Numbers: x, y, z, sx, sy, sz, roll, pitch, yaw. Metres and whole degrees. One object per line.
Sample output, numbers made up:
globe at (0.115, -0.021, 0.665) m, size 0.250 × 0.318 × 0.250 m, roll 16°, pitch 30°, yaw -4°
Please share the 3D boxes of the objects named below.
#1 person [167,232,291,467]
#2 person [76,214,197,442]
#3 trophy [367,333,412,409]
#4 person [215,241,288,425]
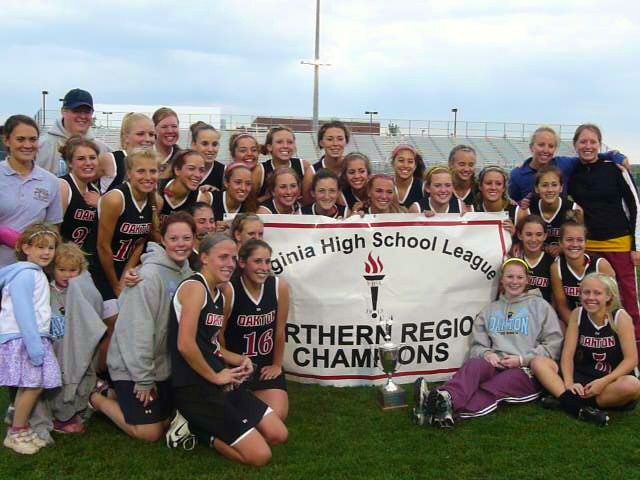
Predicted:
person at (-0.723, 0.790, 5.899) m, size 0.929 × 1.957 × 0.842 m, roll 1°, pitch 2°, yaw 36°
person at (-1.581, 0.764, 6.069) m, size 1.010 × 1.962 × 1.107 m, roll 0°, pitch 14°, yaw -20°
trophy at (0.679, 1.326, 6.512) m, size 0.259 × 0.547 × 0.461 m, roll 1°, pitch -1°, yaw -8°
person at (-0.609, 0.961, 6.223) m, size 0.814 × 1.757 × 1.067 m, roll 0°, pitch 10°, yaw -9°
